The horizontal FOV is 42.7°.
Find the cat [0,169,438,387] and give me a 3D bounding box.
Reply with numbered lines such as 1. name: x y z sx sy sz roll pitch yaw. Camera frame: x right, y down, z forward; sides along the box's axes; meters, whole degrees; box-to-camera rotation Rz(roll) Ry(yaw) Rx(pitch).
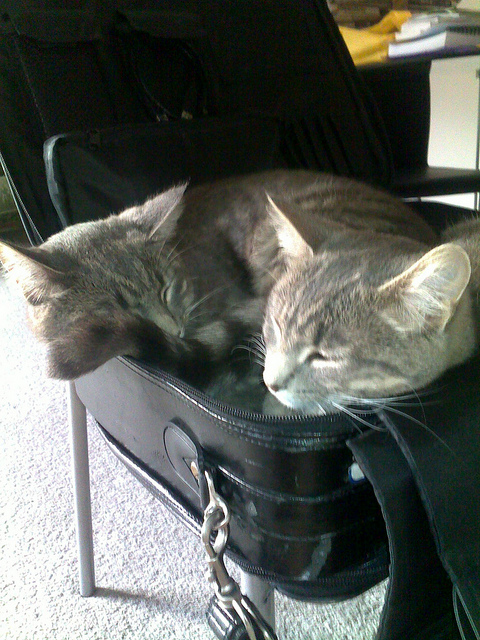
1. cat: -0.068 -0.084 0.764 0.284 0.181 0.410 7 34 16

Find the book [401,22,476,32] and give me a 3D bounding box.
1. book: 0.324 -0.474 0.987 0.077 0.011 0.029 10 16 11

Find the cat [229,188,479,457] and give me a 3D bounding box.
1. cat: 0.116 0.033 0.635 0.216 0.153 0.263 33 55 29
